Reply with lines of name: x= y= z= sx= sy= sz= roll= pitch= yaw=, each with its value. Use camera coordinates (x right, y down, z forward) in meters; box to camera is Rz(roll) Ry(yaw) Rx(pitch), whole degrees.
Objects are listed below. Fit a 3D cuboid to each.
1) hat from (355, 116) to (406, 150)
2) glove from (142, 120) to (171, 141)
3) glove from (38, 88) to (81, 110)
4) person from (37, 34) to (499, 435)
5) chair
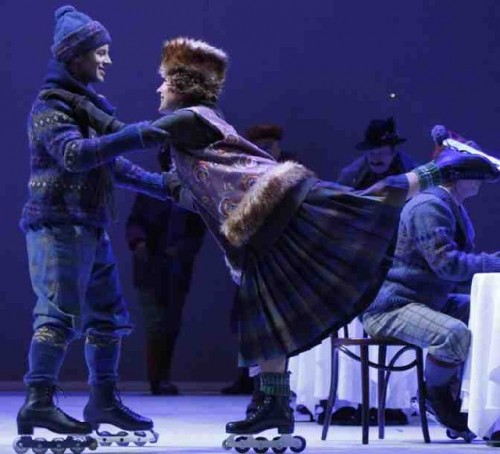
hat: x=0.782 y=-0.544 z=5.659 sx=0.223 sy=0.102 sz=0.260 roll=-14 pitch=5 yaw=24
glove: x=-0.385 y=-0.394 z=3.953 sx=0.075 sy=0.045 sz=0.093 roll=2 pitch=21 yaw=-34
glove: x=-0.812 y=-0.555 z=4.107 sx=0.154 sy=0.047 sz=0.091 roll=17 pitch=15 yaw=0
person: x=0.204 y=0.020 z=4.062 sx=1.261 sy=1.658 sz=0.295 roll=0 pitch=-13 yaw=-6
chair: x=0.682 y=0.743 z=4.718 sx=0.481 sy=0.462 sz=0.421 roll=-4 pitch=6 yaw=16
